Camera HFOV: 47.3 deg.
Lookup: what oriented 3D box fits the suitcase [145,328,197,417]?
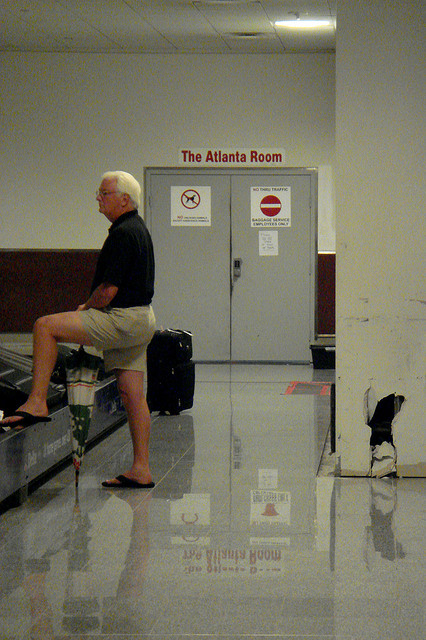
[{"bbox_3d":[-0.343,0.428,3.843,0.371,0.782,0.410,2,39,4],"label":"suitcase"}]

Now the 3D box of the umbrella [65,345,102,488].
[{"bbox_3d":[-0.611,0.449,2.274,0.147,0.686,0.220,-1,2,-14],"label":"umbrella"}]

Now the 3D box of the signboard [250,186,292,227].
[{"bbox_3d":[0.851,-1.661,6.945,0.404,0.585,0.025,0,0,-1],"label":"signboard"}]

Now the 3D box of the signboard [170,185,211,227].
[{"bbox_3d":[-0.330,-1.705,7.063,0.651,0.888,0.062,1,-30,-6],"label":"signboard"}]

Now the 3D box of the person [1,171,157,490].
[{"bbox_3d":[-0.546,0.057,2.286,0.537,1.520,0.599,0,2,-11],"label":"person"}]
